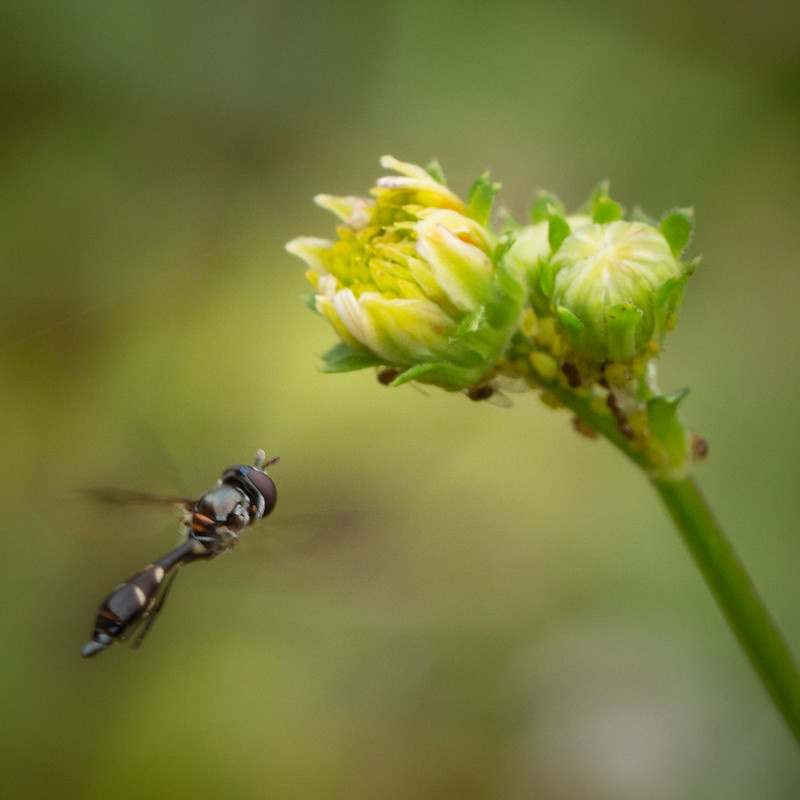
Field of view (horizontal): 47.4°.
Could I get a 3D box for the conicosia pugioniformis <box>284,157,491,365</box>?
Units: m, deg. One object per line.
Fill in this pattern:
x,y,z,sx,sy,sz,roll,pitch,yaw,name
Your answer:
0.025,-0.185,1.218,0.277,0.273,0.158,-51,-34,18,conicosia pugioniformis

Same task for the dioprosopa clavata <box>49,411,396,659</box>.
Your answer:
-0.268,0.222,1.324,0.370,0.184,0.263,2,-45,-12,dioprosopa clavata
